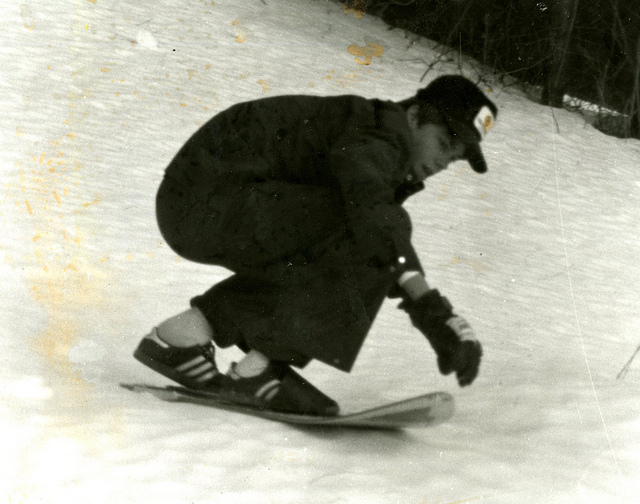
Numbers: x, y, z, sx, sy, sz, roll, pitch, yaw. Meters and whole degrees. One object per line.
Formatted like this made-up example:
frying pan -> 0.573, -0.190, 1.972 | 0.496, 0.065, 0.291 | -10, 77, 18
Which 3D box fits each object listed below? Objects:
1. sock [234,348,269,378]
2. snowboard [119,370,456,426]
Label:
sock -> -0.325, 0.551, 4.993 | 0.119, 0.158, 0.067 | 42, -5, 20
snowboard -> -0.252, 0.675, 5.033 | 1.704, 0.270, 0.412 | 5, -2, 12
